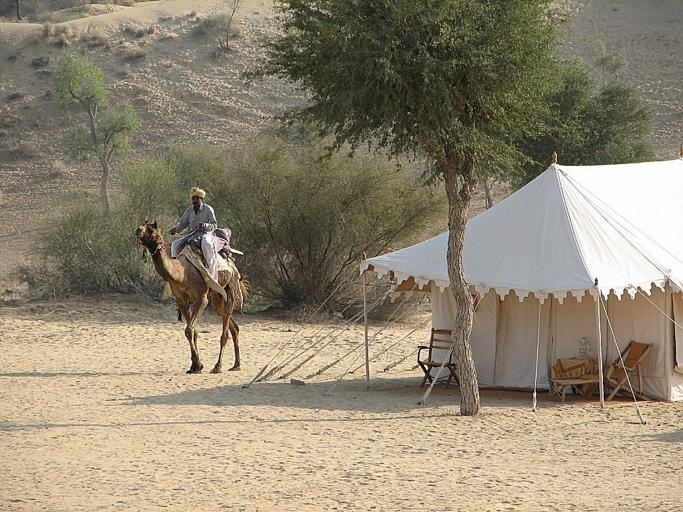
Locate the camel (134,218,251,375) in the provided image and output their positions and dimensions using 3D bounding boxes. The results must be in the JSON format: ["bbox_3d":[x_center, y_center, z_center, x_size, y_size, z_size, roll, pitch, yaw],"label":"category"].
[{"bbox_3d":[-3.661,0.740,28.423,2.476,4.013,2.337,1,7,-3],"label":"camel"}]

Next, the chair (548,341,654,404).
[{"bbox_3d":[6.083,2.612,26.600,2.257,1.335,1.251,1,-3,-5],"label":"chair"}]

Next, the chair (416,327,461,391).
[{"bbox_3d":[2.414,2.410,27.378,1.370,1.228,1.402,0,5,32],"label":"chair"}]

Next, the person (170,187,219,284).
[{"bbox_3d":[-3.670,-0.653,28.642,1.026,2.509,0.859,-1,7,-12],"label":"person"}]

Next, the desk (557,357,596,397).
[{"bbox_3d":[5.452,2.727,26.293,0.921,0.850,0.903,0,-11,9],"label":"desk"}]
